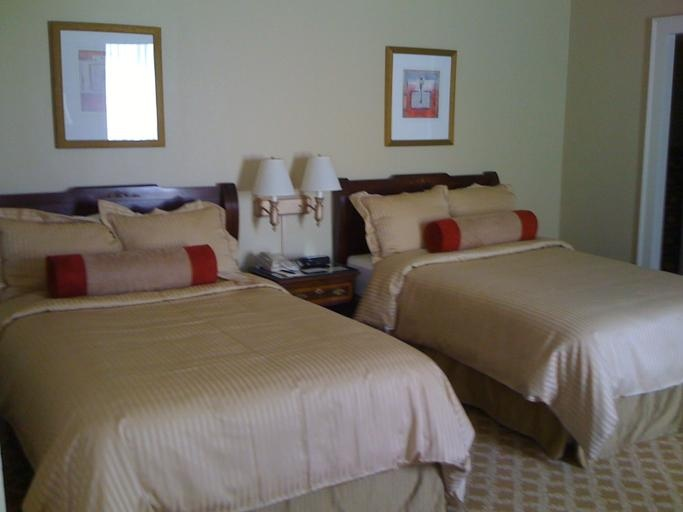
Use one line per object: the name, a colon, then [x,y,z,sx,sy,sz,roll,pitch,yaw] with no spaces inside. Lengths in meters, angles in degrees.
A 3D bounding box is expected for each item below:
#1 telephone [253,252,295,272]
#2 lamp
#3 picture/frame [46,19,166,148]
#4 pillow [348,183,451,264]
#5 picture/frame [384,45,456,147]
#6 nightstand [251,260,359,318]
telephone: [-0.519,0.047,4.346,0.189,0.075,0.189,-6,17,-38]
lamp: [-0.374,-0.514,4.491,0.711,0.658,0.407,-8,18,-28]
picture/frame: [-1.677,-1.233,3.885,0.808,1.011,0.065,-5,11,-25]
pillow: [0.470,-0.315,4.553,0.805,0.588,0.229,-5,-13,-24]
picture/frame: [0.679,-1.475,4.997,0.853,1.023,0.067,-3,7,-31]
nightstand: [-0.228,0.148,4.402,0.581,0.609,0.454,-11,21,-36]
